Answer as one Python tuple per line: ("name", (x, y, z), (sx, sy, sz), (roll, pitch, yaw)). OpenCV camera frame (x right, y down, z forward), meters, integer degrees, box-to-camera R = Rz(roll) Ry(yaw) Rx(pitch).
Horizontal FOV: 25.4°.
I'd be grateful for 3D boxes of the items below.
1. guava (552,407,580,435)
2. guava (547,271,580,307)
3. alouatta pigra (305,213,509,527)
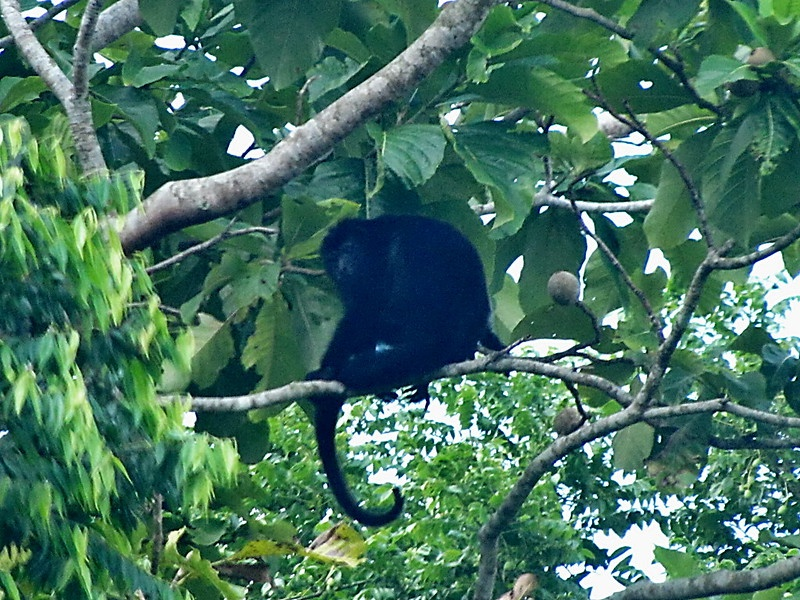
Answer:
("guava", (0.838, 0.615, 8.776), (0.116, 0.135, 0.049), (33, 4, 35))
("guava", (0.794, -0.057, 8.493), (0.145, 0.084, 0.154), (3, -80, 13))
("alouatta pigra", (0.009, 0.064, 8.815), (0.608, 2.061, 0.815), (18, -48, 8))
